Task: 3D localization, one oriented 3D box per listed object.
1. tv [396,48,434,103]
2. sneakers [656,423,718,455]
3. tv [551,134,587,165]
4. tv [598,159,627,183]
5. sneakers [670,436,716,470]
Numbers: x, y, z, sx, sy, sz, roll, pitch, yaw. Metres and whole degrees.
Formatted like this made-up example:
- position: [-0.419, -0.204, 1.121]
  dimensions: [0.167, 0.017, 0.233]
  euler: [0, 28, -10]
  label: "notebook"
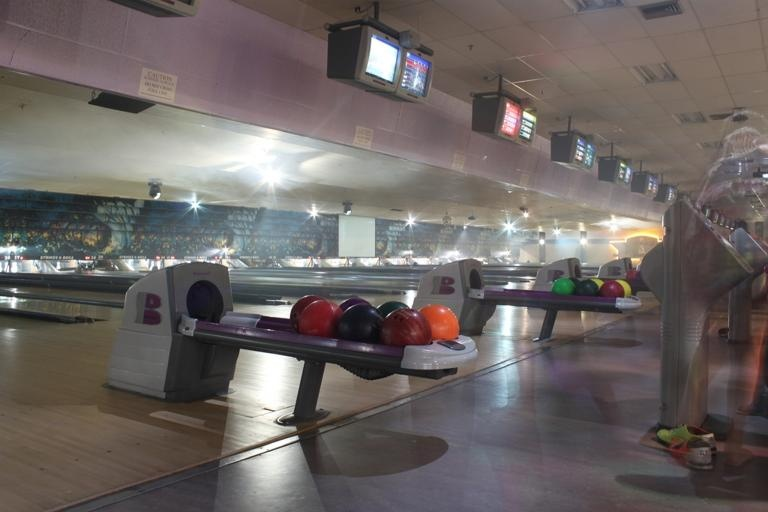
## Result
- position: [0.308, -1.908, 4.860]
  dimensions: [0.325, 0.482, 0.566]
  euler: [7, -2, 27]
  label: "tv"
- position: [1.653, 1.002, 2.552]
  dimensions: [0.161, 0.088, 0.246]
  euler: [5, -9, -35]
  label: "sneakers"
- position: [3.214, -1.872, 8.040]
  dimensions: [0.557, 0.563, 0.353]
  euler: [1, 2, 20]
  label: "tv"
- position: [4.941, -1.834, 9.976]
  dimensions: [0.472, 0.549, 0.830]
  euler: [0, 1, 38]
  label: "tv"
- position: [1.712, 1.064, 2.576]
  dimensions: [0.150, 0.161, 0.398]
  euler: [5, -18, 11]
  label: "sneakers"
